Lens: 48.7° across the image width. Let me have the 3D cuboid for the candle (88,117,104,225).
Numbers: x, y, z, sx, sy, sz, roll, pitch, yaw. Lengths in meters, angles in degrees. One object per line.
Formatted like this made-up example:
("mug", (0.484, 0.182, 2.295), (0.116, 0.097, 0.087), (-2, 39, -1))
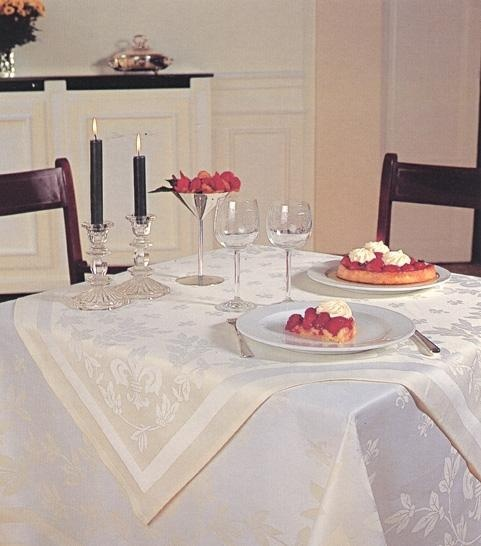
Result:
("candle", (-0.239, -0.164, 0.884), (0.035, 0.169, 0.031), (1, 17, -6))

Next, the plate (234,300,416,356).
("plate", (0.120, 0.072, 0.781), (0.176, 0.016, 0.162), (-6, 19, -11))

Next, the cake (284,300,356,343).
("cake", (0.118, 0.060, 0.738), (0.066, 0.042, 0.099), (-16, 12, -36))
